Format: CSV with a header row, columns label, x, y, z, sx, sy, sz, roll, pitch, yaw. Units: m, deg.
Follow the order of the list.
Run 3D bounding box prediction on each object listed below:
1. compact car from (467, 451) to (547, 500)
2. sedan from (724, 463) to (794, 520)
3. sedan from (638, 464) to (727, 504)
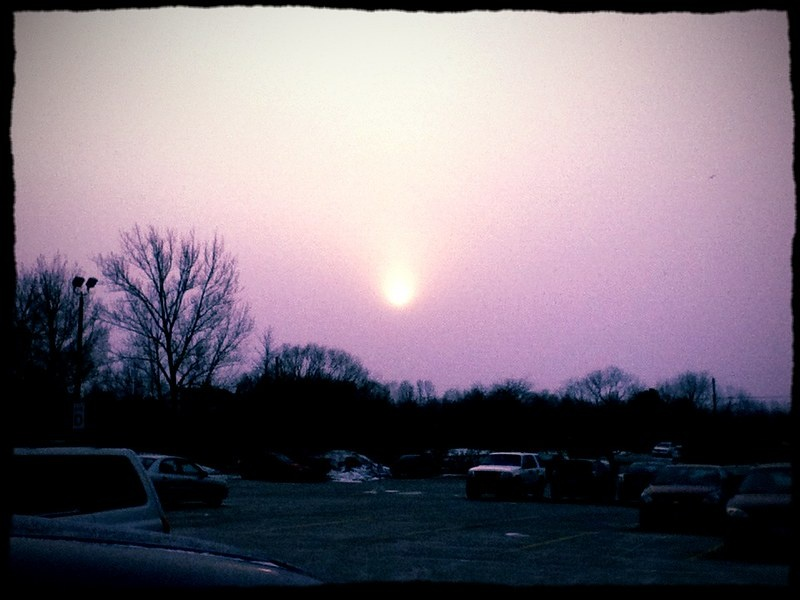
label,x,y,z,sx,sy,sz,roll,pitch,yaw
compact car,3.979,6.113,32.395,1.428,1.284,2.703,-7,-17,29
sedan,6.189,3.340,15.937,0.906,1.037,1.844,12,1,22
sedan,6.651,4.312,21.547,1.671,0.980,1.638,12,2,22
